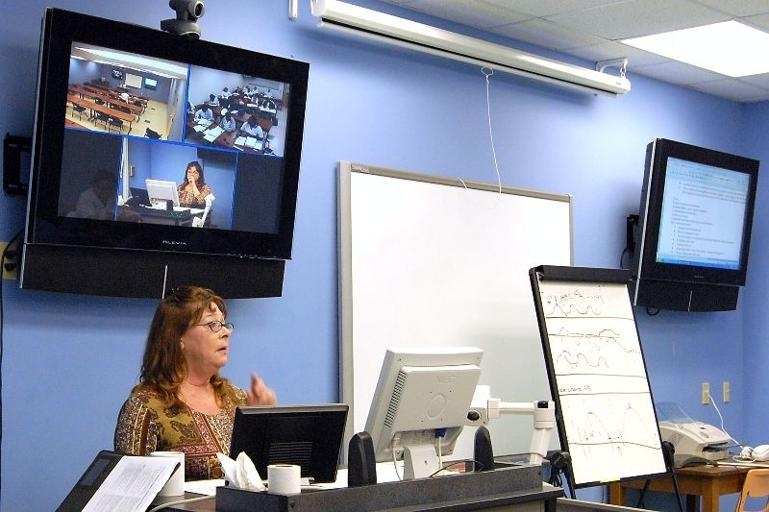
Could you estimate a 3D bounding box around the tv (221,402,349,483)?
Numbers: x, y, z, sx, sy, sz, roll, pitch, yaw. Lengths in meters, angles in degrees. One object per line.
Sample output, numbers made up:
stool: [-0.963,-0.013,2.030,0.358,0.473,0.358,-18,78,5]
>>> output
tv: [-0.369,0.683,2.344,0.417,0.293,0.176,3,-6,-24]

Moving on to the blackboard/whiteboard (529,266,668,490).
blackboard/whiteboard: [1.354,0.724,4.079,0.900,1.406,0.476,6,0,-27]

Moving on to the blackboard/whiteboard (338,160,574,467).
blackboard/whiteboard: [0.375,0.330,3.750,2.033,2.194,0.088,3,-7,-32]

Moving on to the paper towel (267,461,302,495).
paper towel: [-0.314,0.695,2.018,0.099,0.074,0.100,-1,0,-11]

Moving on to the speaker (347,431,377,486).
speaker: [-0.107,0.711,2.213,0.109,0.165,0.113,-4,-9,-2]

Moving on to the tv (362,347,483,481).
tv: [0.166,0.661,2.587,0.449,0.569,0.267,5,1,-32]

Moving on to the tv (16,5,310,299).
tv: [-1.159,-0.503,3.209,1.492,1.351,0.211,5,4,-31]

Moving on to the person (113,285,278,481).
person: [-0.836,0.694,2.874,0.645,1.045,0.477,-1,7,-26]

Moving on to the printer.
printer: [2.077,1.239,4.514,0.403,0.332,0.717,2,-7,-40]
